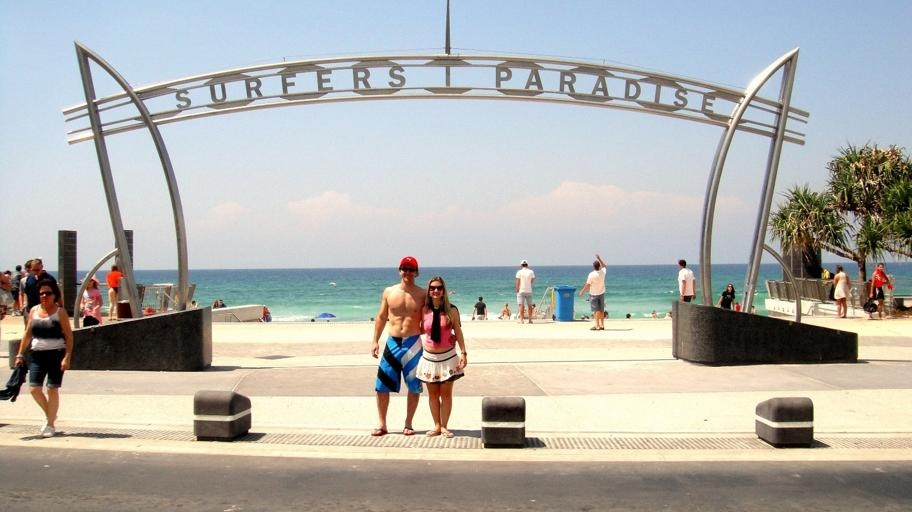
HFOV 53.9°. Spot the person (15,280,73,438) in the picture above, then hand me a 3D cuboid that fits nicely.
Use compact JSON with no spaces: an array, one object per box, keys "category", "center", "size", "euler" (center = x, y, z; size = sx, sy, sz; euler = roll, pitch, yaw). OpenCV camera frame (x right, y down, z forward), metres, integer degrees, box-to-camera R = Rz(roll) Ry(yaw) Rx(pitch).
[{"category":"person","center":[-7.954,1.921,17.311],"size":[0.816,2.957,1.019],"euler":[-1,-1,-36]}]

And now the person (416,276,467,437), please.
[{"category":"person","center":[-0.284,1.888,17.266],"size":[0.922,2.174,1.072],"euler":[-2,-1,-1]}]

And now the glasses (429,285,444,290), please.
[{"category":"glasses","center":[-0.376,0.581,16.823],"size":[0.220,0.050,0.045],"euler":[-2,-1,1]}]

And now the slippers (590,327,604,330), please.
[{"category":"slippers","center":[4.242,2.149,26.833],"size":[0.424,0.080,0.615],"euler":[-2,-1,9]}]

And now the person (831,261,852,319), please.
[{"category":"person","center":[13.123,1.170,30.453],"size":[0.418,1.693,1.331],"euler":[-2,-1,22]}]

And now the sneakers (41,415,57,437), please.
[{"category":"sneakers","center":[-7.787,3.272,17.142],"size":[0.227,0.190,0.501],"euler":[4,-1,-16]}]

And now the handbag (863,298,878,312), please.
[{"category":"handbag","center":[14.071,1.659,30.390],"size":[0.394,0.417,0.636],"euler":[-2,-1,26]}]
